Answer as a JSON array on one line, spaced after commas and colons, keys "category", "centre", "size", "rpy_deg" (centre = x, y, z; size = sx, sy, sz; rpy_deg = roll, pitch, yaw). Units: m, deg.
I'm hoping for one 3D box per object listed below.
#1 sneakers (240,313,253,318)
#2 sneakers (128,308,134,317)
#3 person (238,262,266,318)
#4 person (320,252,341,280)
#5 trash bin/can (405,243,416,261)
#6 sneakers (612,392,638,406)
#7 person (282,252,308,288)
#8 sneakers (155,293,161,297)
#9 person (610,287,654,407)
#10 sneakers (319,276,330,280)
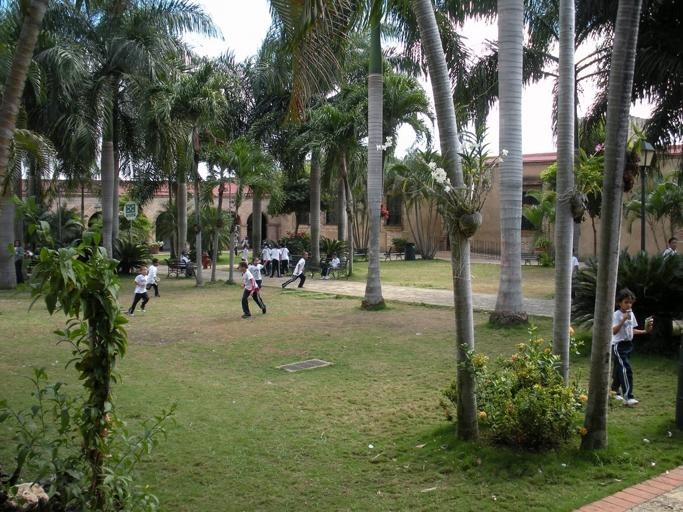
[{"category": "sneakers", "centre": [-2.441, 1.529, 15.194], "size": [0.262, 0.121, 0.096], "rpy_deg": [3, 2, 0]}, {"category": "sneakers", "centre": [-5.389, 1.462, 15.280], "size": [0.113, 0.241, 0.337], "rpy_deg": [3, -13, -33]}, {"category": "person", "centre": [-2.340, 0.848, 15.638], "size": [0.671, 1.368, 1.321], "rpy_deg": [0, 5, -9]}, {"category": "person", "centre": [-0.518, 0.503, 27.180], "size": [0.430, 0.838, 1.193], "rpy_deg": [0, -3, -13]}, {"category": "trash bin/can", "centre": [4.746, -0.269, 41.553], "size": [0.664, 1.105, 1.020], "rpy_deg": [1, 5, 6]}, {"category": "sneakers", "centre": [3.989, 2.022, 8.415], "size": [0.313, 0.147, 0.129], "rpy_deg": [-1, 2, 19]}, {"category": "person", "centre": [-1.677, 0.519, 22.105], "size": [0.886, 1.461, 0.610], "rpy_deg": [4, 12, -39]}, {"category": "sneakers", "centre": [-5.964, 1.277, 19.322], "size": [0.106, 0.066, 0.152], "rpy_deg": [-6, 3, -24]}, {"category": "person", "centre": [4.020, 1.284, 8.444], "size": [0.357, 1.573, 0.546], "rpy_deg": [3, 6, 26]}, {"category": "sneakers", "centre": [-0.743, 0.973, 25.996], "size": [0.290, 0.135, 0.132], "rpy_deg": [3, 2, 3]}]
